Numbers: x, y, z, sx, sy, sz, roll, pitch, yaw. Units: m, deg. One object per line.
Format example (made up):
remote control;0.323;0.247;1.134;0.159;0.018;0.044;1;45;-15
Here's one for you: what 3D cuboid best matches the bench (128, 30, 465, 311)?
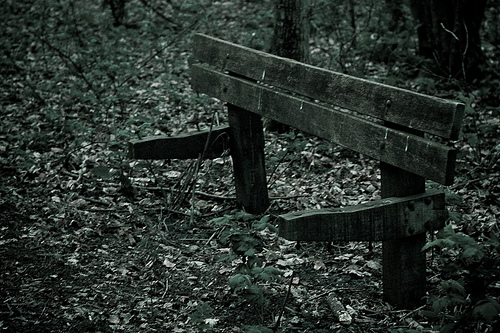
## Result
bench;0.420;0.111;5.652;1.344;1.358;2.870;-11;25;-35
